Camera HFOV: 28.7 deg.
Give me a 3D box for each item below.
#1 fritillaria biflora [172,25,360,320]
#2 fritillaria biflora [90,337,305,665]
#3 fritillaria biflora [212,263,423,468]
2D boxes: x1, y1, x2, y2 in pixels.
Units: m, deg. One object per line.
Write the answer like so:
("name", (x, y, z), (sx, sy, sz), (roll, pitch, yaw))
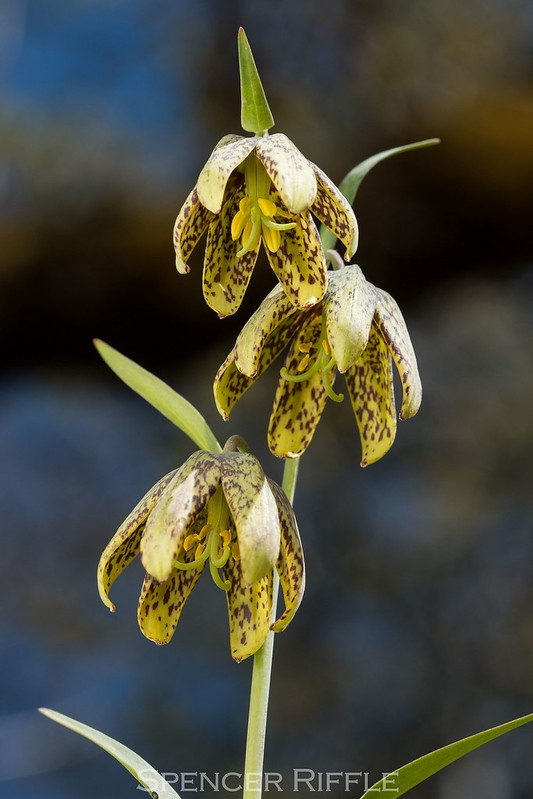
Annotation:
("fritillaria biflora", (-0.018, -0.284, 1.261), (0.172, 0.187, 0.279), (2, 70, -12))
("fritillaria biflora", (-0.078, 0.115, 1.298), (0.218, 0.187, 0.356), (-22, 52, 32))
("fritillaria biflora", (0.079, -0.058, 1.295), (0.253, 0.263, 0.259), (10, 85, 1))
